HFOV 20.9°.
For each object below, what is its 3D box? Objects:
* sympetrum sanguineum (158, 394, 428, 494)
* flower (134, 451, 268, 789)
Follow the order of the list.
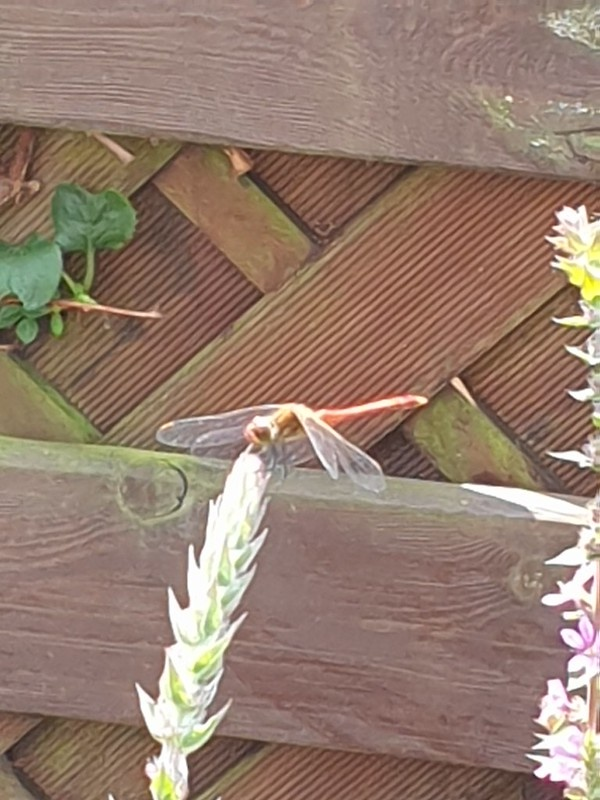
[{"bbox_3d":[-0.014,0.032,1.281,0.163,0.050,0.172,15,6,9],"label":"sympetrum sanguineum"},{"bbox_3d":[-0.067,0.156,1.150,0.099,0.242,0.128,-2,24,-1],"label":"flower"}]
